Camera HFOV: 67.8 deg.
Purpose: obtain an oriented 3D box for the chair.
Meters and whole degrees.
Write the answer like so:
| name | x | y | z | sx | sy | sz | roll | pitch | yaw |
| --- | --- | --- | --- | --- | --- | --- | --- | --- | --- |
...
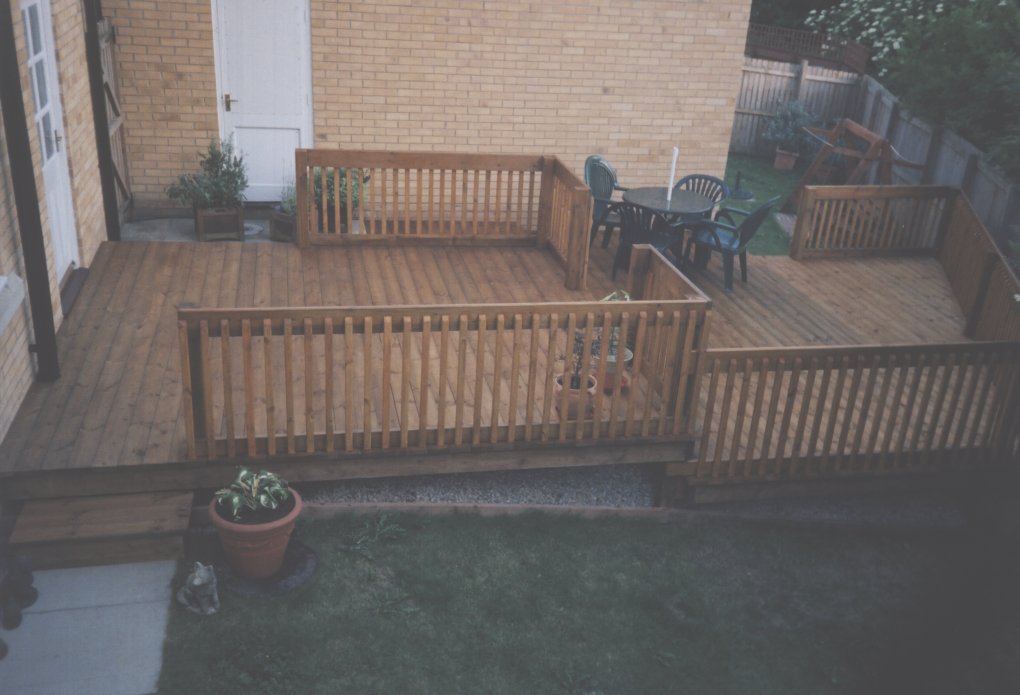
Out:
| name | x | y | z | sx | sy | sz | roll | pitch | yaw |
| --- | --- | --- | --- | --- | --- | --- | --- | --- | --- |
| chair | 2.125 | -1.616 | 10.075 | 2.075 | 1.404 | 2.037 | 3 | 30 | 3 |

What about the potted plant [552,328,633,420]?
| name | x | y | z | sx | sy | sz | roll | pitch | yaw |
| --- | --- | --- | --- | --- | --- | --- | --- | --- | --- |
| potted plant | 0.711 | 0.122 | 6.518 | 0.595 | 0.305 | 0.859 | -1 | 43 | -6 |

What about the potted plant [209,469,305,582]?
| name | x | y | z | sx | sy | sz | roll | pitch | yaw |
| --- | --- | --- | --- | --- | --- | --- | --- | --- | --- |
| potted plant | -1.745 | 1.321 | 5.618 | 0.739 | 0.759 | 0.776 | 1 | 24 | -5 |
